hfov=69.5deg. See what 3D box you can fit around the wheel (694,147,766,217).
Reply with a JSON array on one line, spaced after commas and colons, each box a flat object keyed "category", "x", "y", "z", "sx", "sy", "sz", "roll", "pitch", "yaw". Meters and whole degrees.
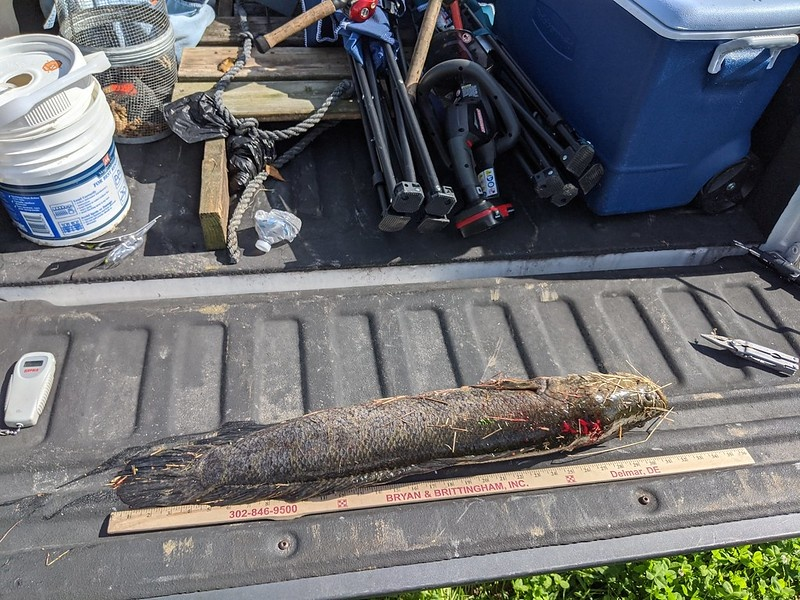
[{"category": "wheel", "x": 1.753, "y": -0.651, "z": 3.125, "sx": 0.287, "sy": 0.295, "sz": 0.075, "roll": -34, "pitch": 58, "yaw": -1}]
